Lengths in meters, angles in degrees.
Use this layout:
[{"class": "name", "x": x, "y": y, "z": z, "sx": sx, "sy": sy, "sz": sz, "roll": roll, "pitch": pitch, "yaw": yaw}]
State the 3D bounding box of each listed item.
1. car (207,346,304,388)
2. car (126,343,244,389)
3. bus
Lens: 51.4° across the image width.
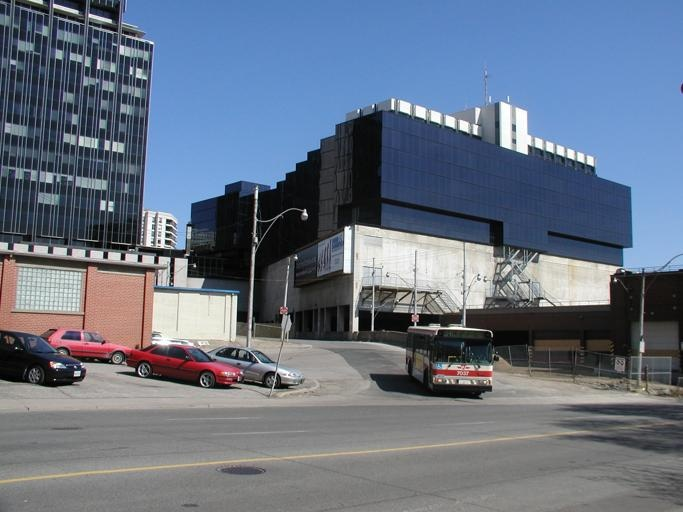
[{"class": "car", "x": -7.384, "y": 5.162, "z": 33.673, "sx": 5.592, "sy": 1.844, "sz": 2.540, "roll": 3, "pitch": -10, "yaw": 20}, {"class": "car", "x": -7.286, "y": 5.079, "z": 33.087, "sx": 4.833, "sy": 1.607, "sz": 2.226, "roll": 1, "pitch": -5, "yaw": 22}, {"class": "bus", "x": 6.435, "y": 4.998, "z": 36.291, "sx": 4.292, "sy": 3.947, "sz": 5.599, "roll": 0, "pitch": -7, "yaw": -6}]
